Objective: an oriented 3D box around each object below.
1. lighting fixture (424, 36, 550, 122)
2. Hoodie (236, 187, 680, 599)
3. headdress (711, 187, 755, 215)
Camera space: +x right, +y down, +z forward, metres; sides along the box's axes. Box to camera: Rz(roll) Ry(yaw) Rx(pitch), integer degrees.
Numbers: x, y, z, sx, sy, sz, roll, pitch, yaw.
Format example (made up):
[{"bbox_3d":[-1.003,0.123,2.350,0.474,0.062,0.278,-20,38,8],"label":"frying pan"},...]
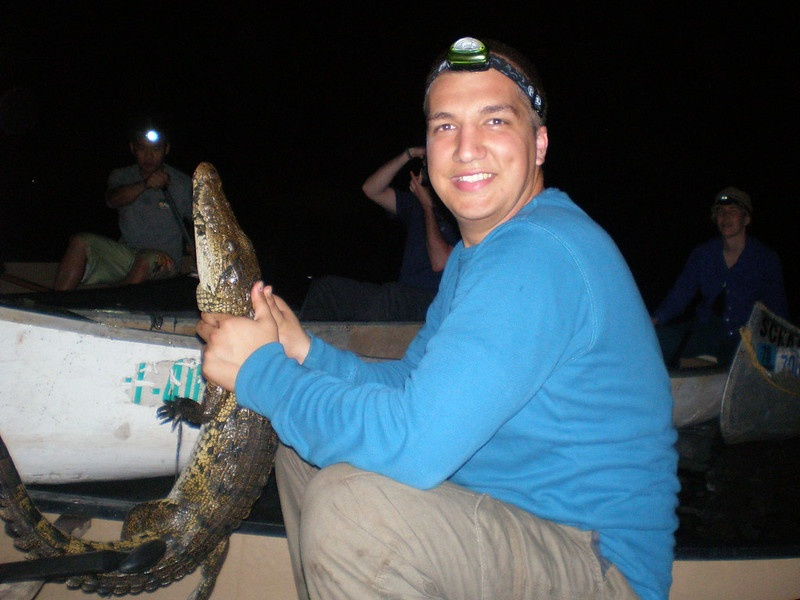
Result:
[{"bbox_3d":[0.288,-0.733,2.268,0.225,0.186,0.309,16,27,24],"label":"lighting fixture"},{"bbox_3d":[0.199,0.252,2.637,1.276,1.225,1.033,15,-3,-8],"label":"Hoodie"},{"bbox_3d":[2.150,-0.664,4.549,0.240,0.134,0.186,21,-12,-13],"label":"headdress"}]
